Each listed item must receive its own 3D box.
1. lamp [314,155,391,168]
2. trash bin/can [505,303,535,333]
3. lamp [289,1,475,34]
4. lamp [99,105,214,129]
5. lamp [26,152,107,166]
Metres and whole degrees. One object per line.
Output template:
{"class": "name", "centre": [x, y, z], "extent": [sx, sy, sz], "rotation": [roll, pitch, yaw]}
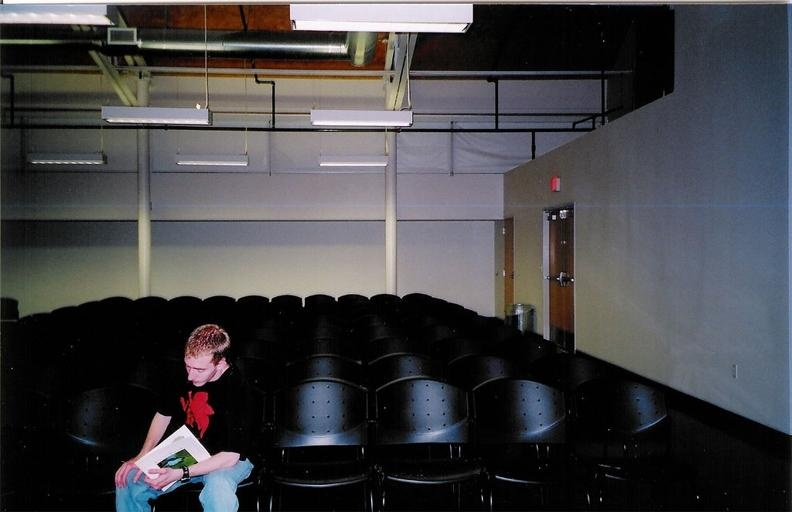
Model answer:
{"class": "lamp", "centre": [-0.722, -1.851, 14.396], "extent": [1.606, 0.280, 0.398], "rotation": [-2, -1, 6]}
{"class": "trash bin/can", "centre": [2.517, 1.197, 14.633], "extent": [0.638, 0.735, 0.668], "rotation": [2, 4, 5]}
{"class": "lamp", "centre": [-0.143, -2.355, 7.158], "extent": [1.770, 0.179, 0.418], "rotation": [0, -5, -3]}
{"class": "lamp", "centre": [-3.692, -2.149, 11.223], "extent": [1.261, 0.271, 0.862], "rotation": [0, -1, -4]}
{"class": "lamp", "centre": [-5.984, -1.779, 13.208], "extent": [1.178, 0.298, 1.128], "rotation": [0, 0, -11]}
